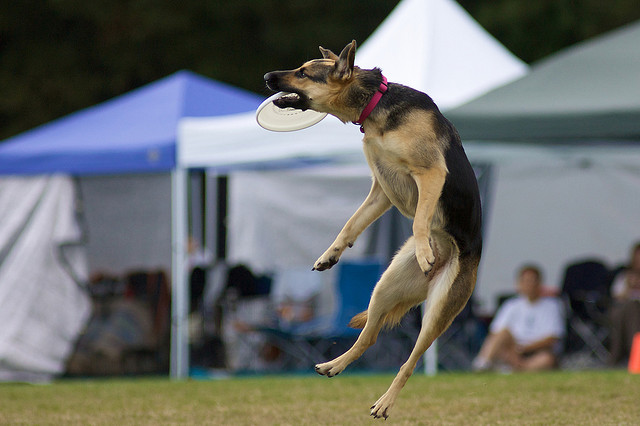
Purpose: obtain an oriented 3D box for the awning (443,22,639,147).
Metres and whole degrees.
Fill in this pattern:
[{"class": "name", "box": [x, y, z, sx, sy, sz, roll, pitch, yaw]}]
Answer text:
[{"class": "awning", "box": [3.515, -1.774, 23.931, 2.472, 1.636, 0.355, -2, -4, 8]}]
